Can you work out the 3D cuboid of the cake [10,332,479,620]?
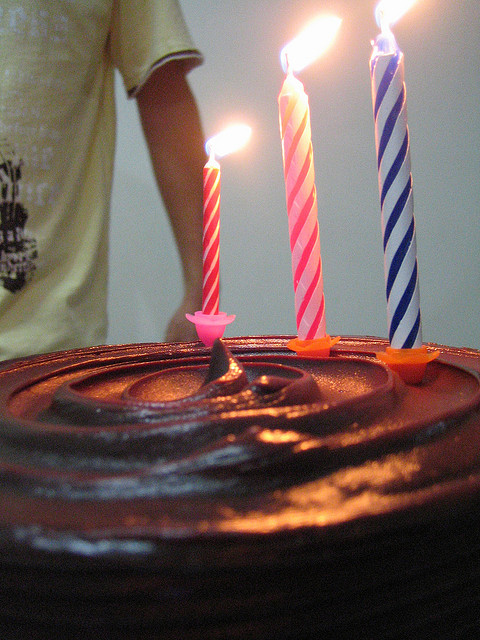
[{"bbox_3d":[0.022,0.122,0.616,0.485,0.200,0.325,-5,1,-6],"label":"cake"}]

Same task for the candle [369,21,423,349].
[{"bbox_3d":[0.201,-0.184,0.849,0.048,0.354,0.133,-5,1,13],"label":"candle"}]
